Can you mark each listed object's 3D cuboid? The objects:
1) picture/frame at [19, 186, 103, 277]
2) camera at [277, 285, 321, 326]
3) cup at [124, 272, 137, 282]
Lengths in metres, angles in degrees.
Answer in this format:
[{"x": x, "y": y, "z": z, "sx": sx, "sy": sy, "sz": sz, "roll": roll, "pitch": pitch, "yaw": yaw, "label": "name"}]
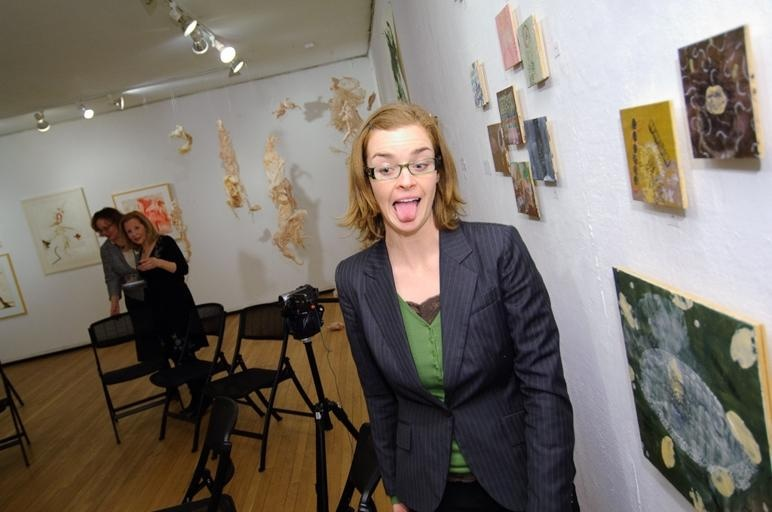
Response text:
[{"x": -5.215, "y": -0.390, "z": 7.785, "sx": 1.109, "sy": 0.912, "sz": 0.270, "roll": -7, "pitch": 9, "yaw": 12, "label": "picture/frame"}, {"x": -0.596, "y": 0.332, "z": 3.340, "sx": 0.209, "sy": 0.107, "sz": 0.224, "roll": -8, "pitch": -1, "yaw": 6, "label": "camera"}, {"x": -2.514, "y": 0.211, "z": 4.757, "sx": 0.098, "sy": 0.079, "sz": 0.098, "roll": -2, "pitch": -8, "yaw": 0, "label": "cup"}]
